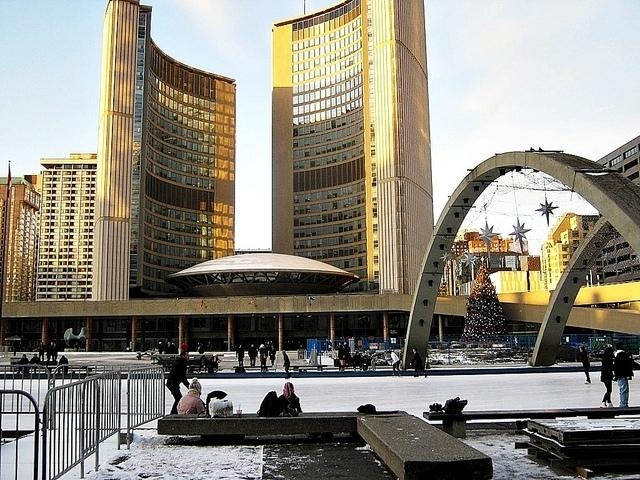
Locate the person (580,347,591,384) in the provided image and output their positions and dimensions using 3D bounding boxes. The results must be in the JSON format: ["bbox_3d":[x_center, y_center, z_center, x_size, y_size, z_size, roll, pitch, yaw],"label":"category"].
[{"bbox_3d":[10.749,5.091,27.582,0.323,1.437,2.638,-2,-7,21],"label":"person"}]

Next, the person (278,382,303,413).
[{"bbox_3d":[-0.654,3.604,15.258,0.559,0.755,0.406,0,3,-2],"label":"person"}]

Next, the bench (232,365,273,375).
[{"bbox_3d":[-3.481,6.833,35.424,1.715,0.367,4.571,1,-7,-4],"label":"bench"}]

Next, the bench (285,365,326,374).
[{"bbox_3d":[-0.708,6.798,35.285,1.791,0.310,3.848,0,-7,1],"label":"bench"}]
